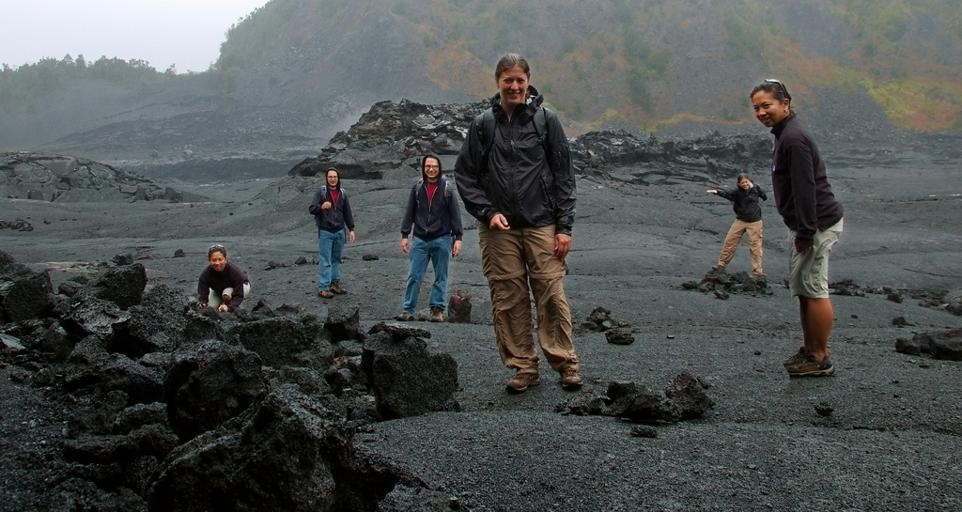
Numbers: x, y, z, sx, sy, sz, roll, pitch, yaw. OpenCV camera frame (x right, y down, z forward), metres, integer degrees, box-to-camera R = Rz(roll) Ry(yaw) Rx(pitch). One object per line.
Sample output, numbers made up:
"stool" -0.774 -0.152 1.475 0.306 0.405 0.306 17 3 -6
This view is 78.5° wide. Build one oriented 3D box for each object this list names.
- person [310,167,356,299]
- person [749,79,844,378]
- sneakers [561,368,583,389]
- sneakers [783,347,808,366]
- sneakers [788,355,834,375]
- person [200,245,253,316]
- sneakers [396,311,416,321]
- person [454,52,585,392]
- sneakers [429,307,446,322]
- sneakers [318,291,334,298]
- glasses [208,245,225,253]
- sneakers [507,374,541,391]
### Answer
"person" -2.884 -0.442 11.231 0.633 2.363 0.851 3 9 21
"person" 3.778 -0.339 7.040 0.996 3.476 0.604 5 11 34
"sneakers" 1.048 1.429 6.964 0.279 0.236 0.183 3 9 20
"sneakers" 3.813 1.215 7.145 0.391 0.132 0.120 -12 12 -18
"sneakers" 3.917 1.306 7.110 0.610 0.232 0.209 1 1 8
"person" -4.146 0.332 9.382 0.683 0.927 0.506 -3 9 -16
"sneakers" -1.228 0.969 9.633 0.303 0.172 0.386 -1 8 -5
"person" 0.489 -0.402 6.976 1.430 3.852 0.626 1 9 7
"sneakers" -0.726 0.961 9.690 0.204 0.199 0.328 -1 8 -7
"sneakers" -2.887 0.719 11.054 0.271 0.096 0.117 -2 1 40
"glasses" -4.884 -0.137 10.880 0.242 0.099 0.249 -3 0 -23
"sneakers" 0.492 1.491 6.958 0.434 0.173 0.159 3 -6 -34
